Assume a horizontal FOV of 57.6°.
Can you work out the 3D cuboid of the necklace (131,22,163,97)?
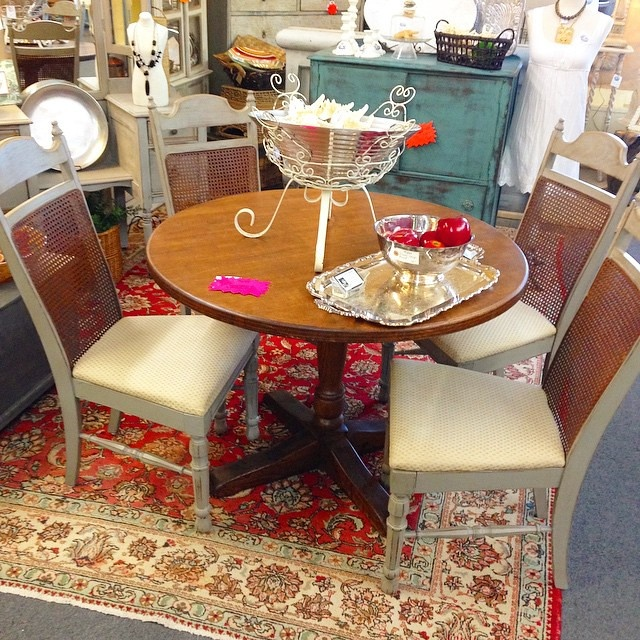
[{"bbox_3d":[-0.845,-1.277,2.870,0.202,0.422,0.269,-4,34,-11],"label":"necklace"}]

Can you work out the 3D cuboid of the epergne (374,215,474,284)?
[{"bbox_3d":[0.249,-0.175,1.472,0.260,0.140,0.221,-2,30,-5],"label":"epergne"}]

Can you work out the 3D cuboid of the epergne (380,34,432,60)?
[{"bbox_3d":[0.484,-1.515,3.277,0.290,0.081,0.244,-7,36,-10],"label":"epergne"}]

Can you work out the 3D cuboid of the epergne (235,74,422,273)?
[{"bbox_3d":[-0.017,-0.485,1.761,0.470,0.453,0.905,2,30,-2],"label":"epergne"}]
